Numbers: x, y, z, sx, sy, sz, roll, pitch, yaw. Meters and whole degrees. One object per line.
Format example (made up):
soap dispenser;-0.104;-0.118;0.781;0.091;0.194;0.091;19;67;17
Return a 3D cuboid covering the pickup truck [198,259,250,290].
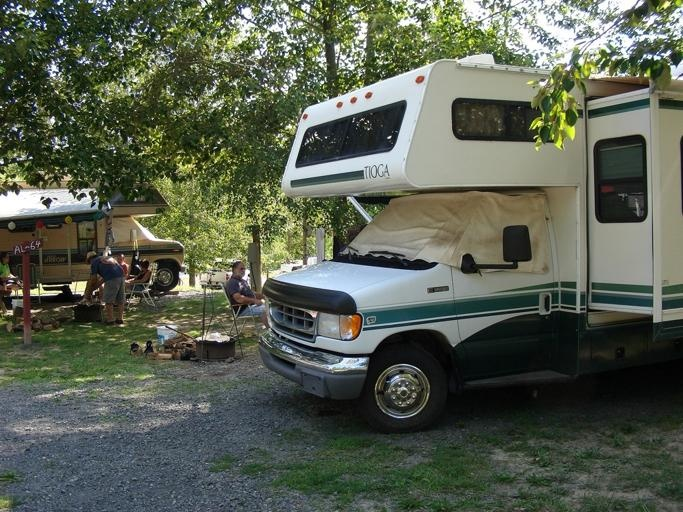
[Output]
pickup truck;-3.284;0.476;15.991;1.073;0.823;2.507;-1;5;-3

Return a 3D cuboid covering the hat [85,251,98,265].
hat;-6.775;0.055;15.792;0.309;0.098;0.306;-27;4;-28

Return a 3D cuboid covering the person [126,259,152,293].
person;-5.880;0.588;17.139;0.952;1.102;0.810;0;0;-13

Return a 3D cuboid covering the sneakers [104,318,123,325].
sneakers;-5.301;1.541;13.620;0.418;0.163;0.154;3;-1;-5

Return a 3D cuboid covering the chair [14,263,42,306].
chair;-9.040;0.864;16.610;0.684;0.989;0.622;-16;-5;37

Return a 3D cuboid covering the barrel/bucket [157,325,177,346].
barrel/bucket;-3.167;1.449;10.633;0.350;0.329;0.499;-2;5;-16

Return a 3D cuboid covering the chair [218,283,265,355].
chair;-1.716;1.080;10.655;0.665;0.893;0.556;-7;-14;11

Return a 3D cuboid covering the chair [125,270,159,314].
chair;-5.954;0.900;17.320;0.888;1.169;0.732;-2;16;-20
